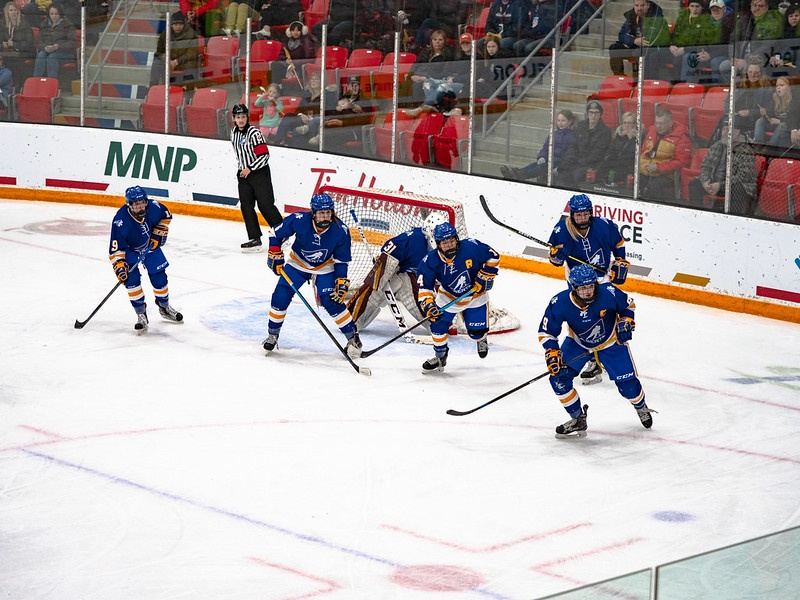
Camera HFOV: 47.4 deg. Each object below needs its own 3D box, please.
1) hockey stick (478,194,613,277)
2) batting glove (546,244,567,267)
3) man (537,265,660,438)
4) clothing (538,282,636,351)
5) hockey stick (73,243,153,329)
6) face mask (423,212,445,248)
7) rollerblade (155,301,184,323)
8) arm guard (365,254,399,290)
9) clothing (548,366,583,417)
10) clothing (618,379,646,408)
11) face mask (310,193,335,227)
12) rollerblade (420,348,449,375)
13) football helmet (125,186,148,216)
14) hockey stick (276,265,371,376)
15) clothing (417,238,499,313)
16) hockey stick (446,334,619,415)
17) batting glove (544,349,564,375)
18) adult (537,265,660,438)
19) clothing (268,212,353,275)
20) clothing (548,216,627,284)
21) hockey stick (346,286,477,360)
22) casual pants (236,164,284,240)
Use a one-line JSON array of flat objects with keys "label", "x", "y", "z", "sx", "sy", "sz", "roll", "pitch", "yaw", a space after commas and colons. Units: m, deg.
[{"label": "hockey stick", "x": 1.468, "y": -0.607, "z": 9.121, "sx": 1.883, "sy": 0.317, "sz": 0.110, "roll": 18, "pitch": -40, "yaw": -37}, {"label": "batting glove", "x": 1.308, "y": -0.373, "z": 7.527, "sx": 0.129, "sy": 0.162, "sz": 0.065, "roll": 3, "pitch": 3, "yaw": 17}, {"label": "man", "x": 1.330, "y": 0.348, "z": 6.183, "sx": 0.732, "sy": 1.203, "sz": 0.634, "roll": -11, "pitch": 15, "yaw": -2}, {"label": "clothing", "x": 1.298, "y": 0.150, "z": 6.257, "sx": 0.747, "sy": 0.520, "sz": 0.433, "roll": -4, "pitch": 36, "yaw": 16}, {"label": "hockey stick", "x": -2.602, "y": -0.090, "z": 8.333, "sx": 1.146, "sy": 0.198, "sz": 0.168, "roll": -43, "pitch": 19, "yaw": -21}, {"label": "face mask", "x": 0.267, "y": -0.585, "z": 7.562, "sx": 0.238, "sy": 0.262, "sz": 0.277, "roll": -4, "pitch": 28, "yaw": -11}, {"label": "rollerblade", "x": -2.063, "y": 0.123, "z": 8.149, "sx": 0.201, "sy": 0.064, "sz": 0.136, "roll": 19, "pitch": -24, "yaw": 19}, {"label": "arm guard", "x": -0.140, "y": -0.241, "z": 7.879, "sx": 0.087, "sy": 0.285, "sz": 0.278, "roll": 33, "pitch": 20, "yaw": -31}, {"label": "clothing", "x": 1.136, "y": 0.634, "z": 6.155, "sx": 0.238, "sy": 0.357, "sz": 0.112, "roll": 2, "pitch": 8, "yaw": -18}, {"label": "clothing", "x": 1.574, "y": 0.629, "z": 6.156, "sx": 0.151, "sy": 0.226, "sz": 0.087, "roll": -3, "pitch": 51, "yaw": 34}, {"label": "face mask", "x": -0.622, "y": -0.715, "z": 7.405, "sx": 0.191, "sy": 0.280, "sz": 0.246, "roll": 4, "pitch": 8, "yaw": -5}, {"label": "rollerblade", "x": 0.287, "y": 0.511, "z": 7.245, "sx": 0.104, "sy": 0.131, "sz": 0.294, "roll": 13, "pitch": 16, "yaw": 36}, {"label": "football helmet", "x": -2.202, "y": -0.822, "z": 7.665, "sx": 0.169, "sy": 0.241, "sz": 0.214, "roll": 2, "pitch": 8, "yaw": -16}, {"label": "hockey stick", "x": -0.644, "y": 0.202, "z": 7.667, "sx": 0.158, "sy": 1.054, "sz": 0.128, "roll": -44, "pitch": -16, "yaw": 35}, {"label": "clothing", "x": 0.455, "y": -0.179, "z": 7.217, "sx": 0.524, "sy": 0.599, "sz": 0.395, "roll": -2, "pitch": 10, "yaw": -40}, {"label": "hockey stick", "x": 1.001, "y": 0.588, "z": 6.784, "sx": 1.054, "sy": 0.154, "sz": 0.103, "roll": -26, "pitch": 41, "yaw": 13}, {"label": "batting glove", "x": 1.034, "y": 0.413, "z": 6.109, "sx": 0.128, "sy": 0.070, "sz": 0.165, "roll": -5, "pitch": 49, "yaw": 12}, {"label": "adult", "x": 1.338, "y": 0.356, "z": 6.171, "sx": 0.740, "sy": 1.199, "sz": 0.615, "roll": -9, "pitch": 15, "yaw": 4}, {"label": "clothing", "x": -0.724, "y": -0.457, "z": 7.600, "sx": 0.644, "sy": 0.360, "sz": 0.611, "roll": 10, "pitch": -35, "yaw": -17}, {"label": "clothing", "x": 1.579, "y": -0.267, "z": 7.524, "sx": 0.642, "sy": 0.757, "sz": 0.396, "roll": -7, "pitch": 13, "yaw": 18}, {"label": "hockey stick", "x": 0.103, "y": 0.204, "z": 7.667, "sx": 1.035, "sy": 0.157, "sz": 0.099, "roll": -31, "pitch": 33, "yaw": 27}, {"label": "casual pants", "x": -1.584, "y": -1.137, "z": 10.479, "sx": 0.457, "sy": 1.134, "sz": 0.317, "roll": -14, "pitch": -37, "yaw": 2}]
